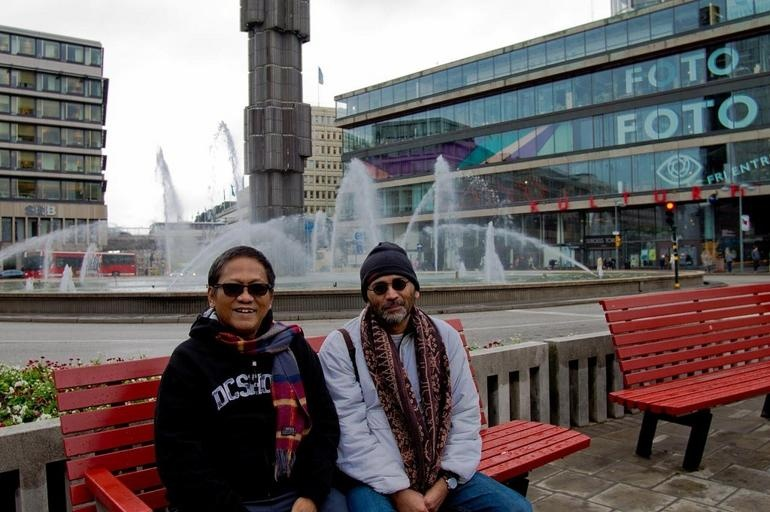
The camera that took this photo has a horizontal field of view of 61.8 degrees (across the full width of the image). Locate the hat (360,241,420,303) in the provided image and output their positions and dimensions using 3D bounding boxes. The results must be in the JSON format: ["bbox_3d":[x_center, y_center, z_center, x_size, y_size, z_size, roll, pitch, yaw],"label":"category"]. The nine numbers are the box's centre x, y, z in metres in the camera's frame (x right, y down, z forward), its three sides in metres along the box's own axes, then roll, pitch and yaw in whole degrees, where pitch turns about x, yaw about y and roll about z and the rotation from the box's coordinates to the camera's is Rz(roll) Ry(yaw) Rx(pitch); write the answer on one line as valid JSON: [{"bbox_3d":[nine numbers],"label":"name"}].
[{"bbox_3d":[0.035,0.140,6.081,0.504,0.501,0.553,-4,-19,-3],"label":"hat"}]

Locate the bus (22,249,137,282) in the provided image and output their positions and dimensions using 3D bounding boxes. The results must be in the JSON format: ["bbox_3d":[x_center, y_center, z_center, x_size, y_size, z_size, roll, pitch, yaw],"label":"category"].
[{"bbox_3d":[-24.428,0.819,51.433,2.282,2.186,8.609,-3,-4,31],"label":"bus"}]

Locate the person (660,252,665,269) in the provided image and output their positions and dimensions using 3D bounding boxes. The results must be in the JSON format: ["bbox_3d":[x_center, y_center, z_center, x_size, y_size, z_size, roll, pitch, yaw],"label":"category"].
[{"bbox_3d":[19.890,0.385,46.169,0.421,0.764,0.727,-3,1,17],"label":"person"}]

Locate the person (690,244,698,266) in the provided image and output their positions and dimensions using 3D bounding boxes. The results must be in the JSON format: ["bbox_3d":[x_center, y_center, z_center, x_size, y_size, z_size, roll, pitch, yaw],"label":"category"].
[{"bbox_3d":[22.174,-0.068,46.337,0.396,1.052,0.493,-4,1,-18],"label":"person"}]
